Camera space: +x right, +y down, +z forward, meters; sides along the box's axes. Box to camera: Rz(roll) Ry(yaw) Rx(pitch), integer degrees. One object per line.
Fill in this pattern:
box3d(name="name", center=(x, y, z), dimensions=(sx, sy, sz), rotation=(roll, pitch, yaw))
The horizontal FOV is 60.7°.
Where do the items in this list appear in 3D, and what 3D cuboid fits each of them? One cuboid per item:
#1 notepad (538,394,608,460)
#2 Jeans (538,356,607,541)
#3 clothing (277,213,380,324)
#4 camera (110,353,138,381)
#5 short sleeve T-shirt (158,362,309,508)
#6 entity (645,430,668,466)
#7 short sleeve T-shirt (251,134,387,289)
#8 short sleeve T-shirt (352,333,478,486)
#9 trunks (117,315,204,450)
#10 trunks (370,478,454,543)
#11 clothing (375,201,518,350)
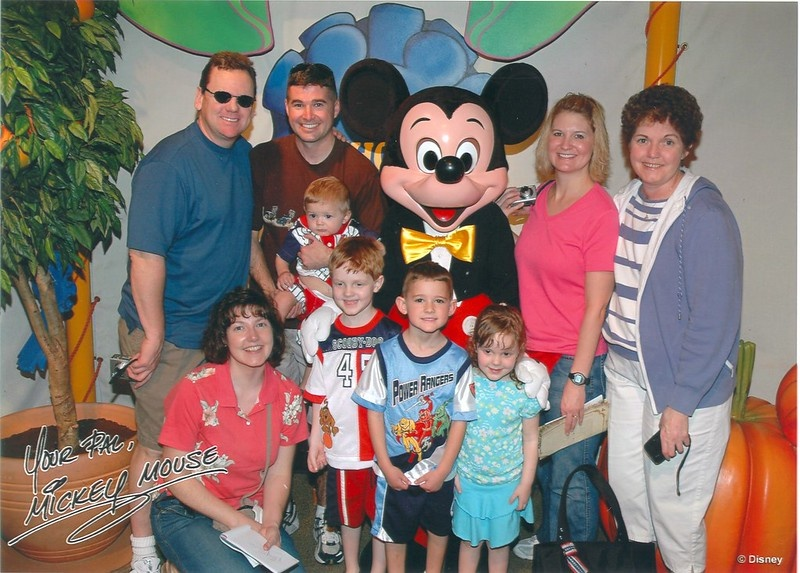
box3d(name="notepad", center=(0.888, 0.724, 3.553), dimensions=(0.425, 0.251, 0.076), rotation=(-23, 44, -3))
box3d(name="Jeans", center=(0.900, 0.900, 3.696), dimensions=(0.243, 0.928, 0.553), rotation=(0, 4, -43))
box3d(name="clothing", center=(-0.377, -0.079, 3.557), dimensions=(0.601, 0.555, 0.364), rotation=(-5, 0, 16))
box3d(name="camera", center=(-1.445, 0.421, 3.548), dimensions=(0.109, 0.130, 0.235), rotation=(-1, 3, -22))
box3d(name="short sleeve T-shirt", center=(-0.829, 0.715, 3.274), dimensions=(0.703, 0.614, 0.344), rotation=(10, 18, -25))
box3d(name="entity", center=(1.223, 0.774, 3.283), dimensions=(0.096, 0.147, 0.051), rotation=(1, 3, 19))
box3d(name="short sleeve T-shirt", center=(-0.464, -0.401, 3.746), dimensions=(0.845, 0.880, 0.343), rotation=(4, 24, 0))
box3d(name="short sleeve T-shirt", center=(0.081, 0.603, 3.285), dimensions=(0.731, 0.685, 0.247), rotation=(5, 16, -4))
box3d(name="trunks", center=(-1.288, 0.508, 3.566), dimensions=(0.403, 0.638, 0.182), rotation=(6, 11, -4))
box3d(name="trunks", center=(0.054, 1.084, 3.322), dimensions=(0.375, 0.319, 0.199), rotation=(2, 6, -18))
box3d(name="clothing", center=(0.229, -0.033, 3.476), dimensions=(0.754, 0.662, 0.397), rotation=(2, 11, 1))
